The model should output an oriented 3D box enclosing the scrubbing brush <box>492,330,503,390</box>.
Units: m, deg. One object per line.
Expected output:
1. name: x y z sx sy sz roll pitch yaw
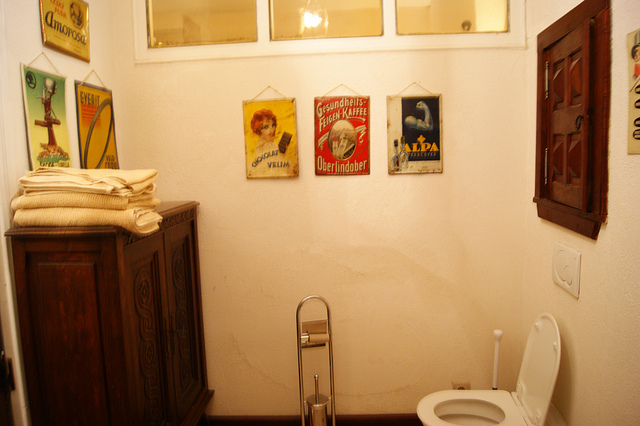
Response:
1. scrubbing brush: 1.072 0.898 2.931 0.068 0.366 0.063 10 -7 -41
